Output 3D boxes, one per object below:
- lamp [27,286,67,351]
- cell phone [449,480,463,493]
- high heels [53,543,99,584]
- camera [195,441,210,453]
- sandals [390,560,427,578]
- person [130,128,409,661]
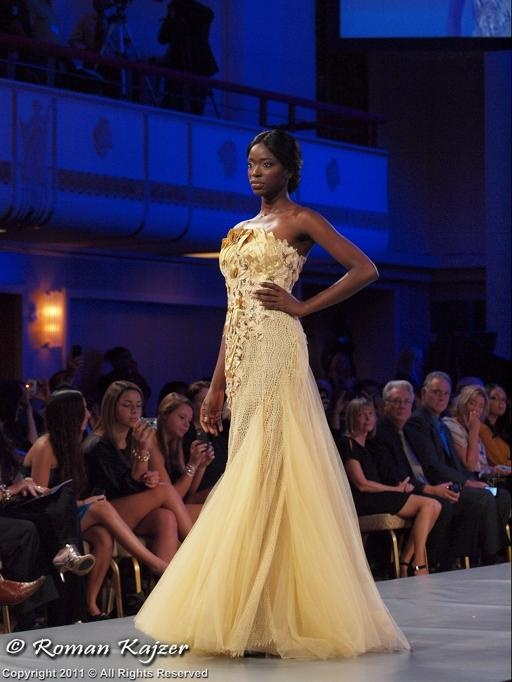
[{"bbox_3d":[-1.239,-0.136,4.046,0.223,0.383,0.059,13,-20,-43],"label":"lamp"},{"bbox_3d":[1.277,0.940,4.323,0.069,0.067,0.053,1,-5,9],"label":"cell phone"},{"bbox_3d":[-0.731,0.889,2.727,0.230,0.110,0.083,17,-38,-20],"label":"high heels"},{"bbox_3d":[-0.289,0.559,3.635,0.062,0.056,0.018,-2,-47,-3],"label":"camera"},{"bbox_3d":[0.869,1.310,3.877,0.225,0.073,0.076,-3,-6,14],"label":"sandals"},{"bbox_3d":[0.027,0.188,1.779,0.639,1.206,0.349,-3,-14,10],"label":"person"}]
